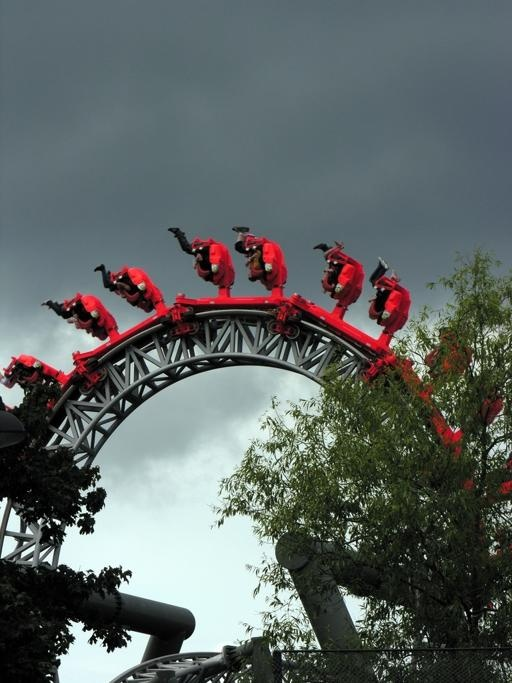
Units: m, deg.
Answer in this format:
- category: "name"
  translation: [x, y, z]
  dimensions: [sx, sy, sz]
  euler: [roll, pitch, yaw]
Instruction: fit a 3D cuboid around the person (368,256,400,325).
- category: "person"
  translation: [3.253, -1.237, 22.151]
  dimensions: [0.696, 1.576, 1.133]
  euler: [5, -37, 8]
